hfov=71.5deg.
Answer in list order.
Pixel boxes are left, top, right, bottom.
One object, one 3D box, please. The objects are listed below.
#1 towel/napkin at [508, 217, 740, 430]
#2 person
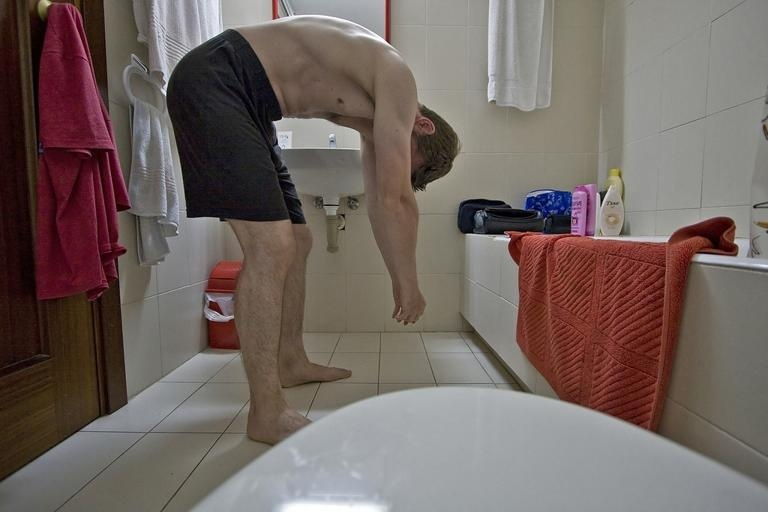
[{"bbox_3d":[0.701,0.213,1.564,0.144,0.462,0.605,6,2,-15],"label":"towel/napkin"},{"bbox_3d":[-0.318,-0.109,1.949,0.836,1.482,0.517,-4,9,-24],"label":"person"}]
